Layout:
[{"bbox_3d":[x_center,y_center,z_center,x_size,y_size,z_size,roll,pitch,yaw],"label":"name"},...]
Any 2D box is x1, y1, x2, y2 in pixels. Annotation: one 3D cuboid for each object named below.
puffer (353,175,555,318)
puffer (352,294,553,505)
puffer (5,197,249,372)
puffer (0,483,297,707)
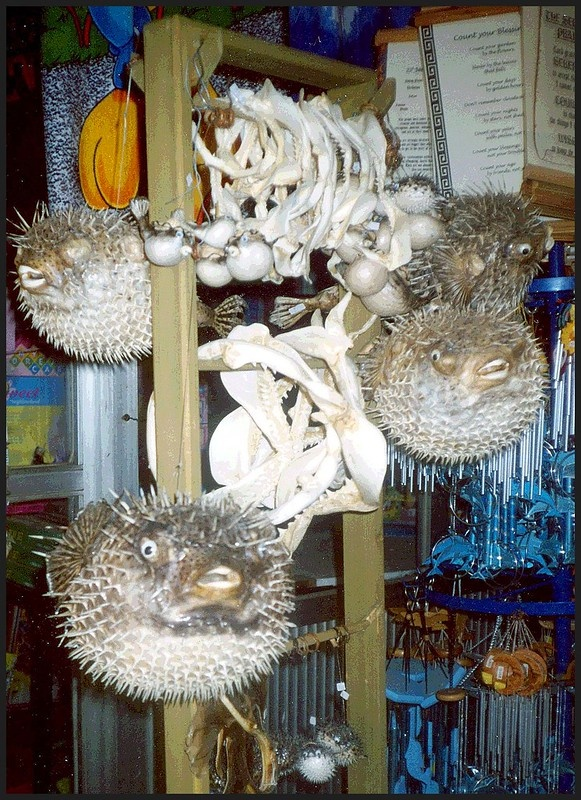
[{"bbox_3d":[0.259,-0.228,2.465,0.331,0.217,0.184,1,88,-6],"label":"puffer"},{"bbox_3d":[0.276,-0.033,2.345,0.274,0.164,0.243,9,84,0],"label":"puffer"},{"bbox_3d":[-0.293,-0.185,2.399,0.222,0.319,0.213,-13,71,41],"label":"puffer"},{"bbox_3d":[-0.171,0.287,2.150,0.261,0.417,0.238,7,83,-27],"label":"puffer"}]
